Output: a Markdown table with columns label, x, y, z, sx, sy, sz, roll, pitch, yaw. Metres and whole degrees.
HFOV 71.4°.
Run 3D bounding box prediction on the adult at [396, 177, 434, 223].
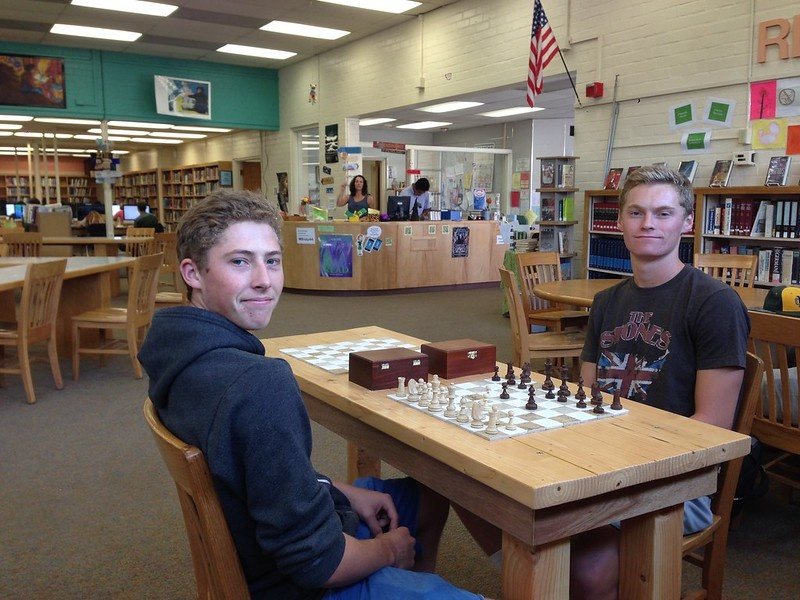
| label | x | y | z | sx | sy | sz | roll | pitch | yaw |
| --- | --- | --- | --- | --- | --- | --- | --- | --- | --- |
| adult | 0.233 | -1.521 | 9.748 | 0.561 | 1.231 | 0.420 | 1 | 18 | -9 |

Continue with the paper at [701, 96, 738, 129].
| label | x | y | z | sx | sy | sz | roll | pitch | yaw |
| --- | --- | --- | --- | --- | --- | --- | --- | --- | --- |
| paper | 3.203 | -1.892 | 5.583 | 0.033 | 0.314 | 0.304 | -6 | 27 | -37 |

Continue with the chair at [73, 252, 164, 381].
| label | x | y | z | sx | sy | sz | roll | pitch | yaw |
| --- | --- | --- | --- | --- | --- | --- | --- | --- | --- |
| chair | -2.487 | 0.102 | 4.916 | 0.622 | 1.032 | 0.647 | 3 | 6 | -3 |

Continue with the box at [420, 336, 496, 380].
| label | x | y | z | sx | sy | sz | roll | pitch | yaw |
| --- | --- | --- | --- | --- | --- | --- | --- | --- | --- |
| box | 0.183 | 0.153 | 1.920 | 0.194 | 0.096 | 0.136 | -4 | 11 | -30 |

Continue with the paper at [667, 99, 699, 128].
| label | x | y | z | sx | sy | sz | roll | pitch | yaw |
| --- | --- | --- | --- | --- | --- | --- | --- | --- | --- |
| paper | 2.990 | -1.983 | 5.889 | 0.039 | 0.344 | 0.345 | -1 | 4 | -39 |

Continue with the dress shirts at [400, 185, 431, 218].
| label | x | y | z | sx | sy | sz | roll | pitch | yaw |
| --- | --- | --- | --- | --- | --- | --- | --- | --- | --- |
| dress shirts | 0.255 | -1.694 | 9.583 | 0.709 | 0.616 | 0.391 | -5 | 8 | -34 |

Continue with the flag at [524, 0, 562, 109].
| label | x | y | z | sx | sy | sz | roll | pitch | yaw |
| --- | --- | --- | --- | --- | --- | --- | --- | --- | --- |
| flag | 1.540 | -2.661 | 6.025 | 0.286 | 1.077 | 0.531 | 2 | 11 | 14 |

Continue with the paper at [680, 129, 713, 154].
| label | x | y | z | sx | sy | sz | roll | pitch | yaw |
| --- | --- | --- | --- | --- | --- | --- | --- | --- | --- |
| paper | 3.067 | -1.667 | 5.805 | 0.041 | 0.218 | 0.315 | -6 | 12 | -28 |
